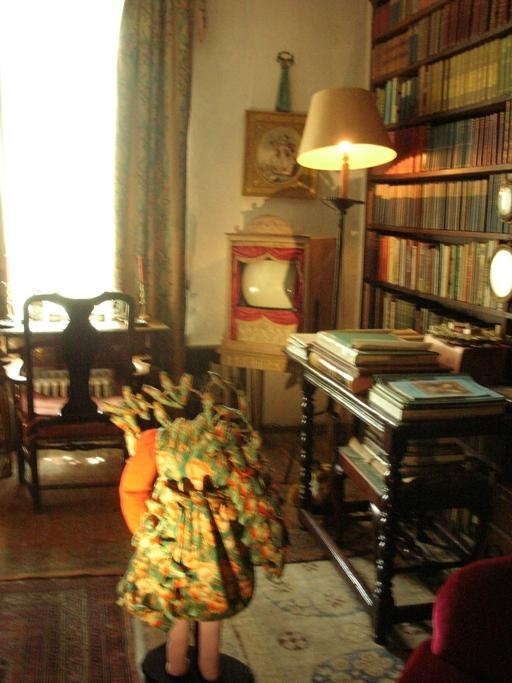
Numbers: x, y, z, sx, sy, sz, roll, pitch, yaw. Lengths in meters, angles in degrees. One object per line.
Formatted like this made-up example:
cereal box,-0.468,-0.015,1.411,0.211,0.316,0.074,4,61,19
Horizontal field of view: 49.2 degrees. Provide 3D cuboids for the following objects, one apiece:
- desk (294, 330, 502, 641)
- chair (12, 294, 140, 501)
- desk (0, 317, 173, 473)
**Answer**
desk,0.421,0.424,1.650,0.530,0.687,0.821,-2,11,-11
chair,-0.778,0.256,2.490,0.544,0.919,0.428,-1,7,-18
desk,-0.839,0.186,2.659,1.003,0.841,0.674,0,4,-12
